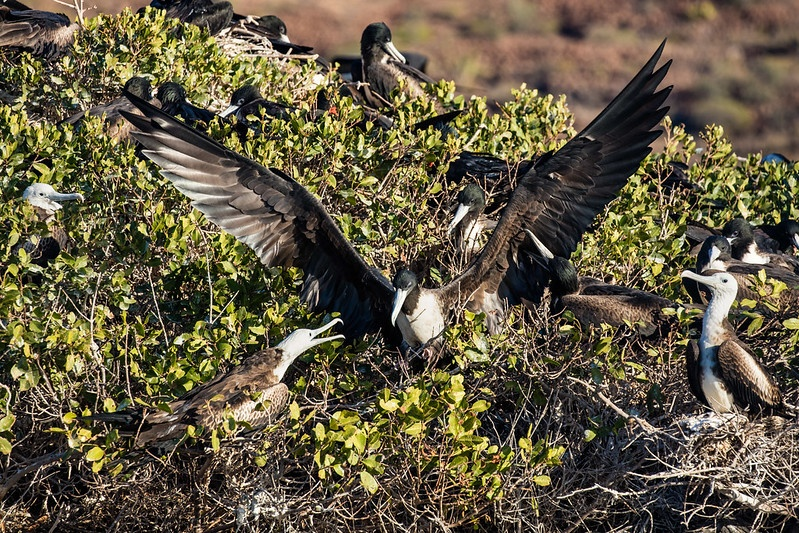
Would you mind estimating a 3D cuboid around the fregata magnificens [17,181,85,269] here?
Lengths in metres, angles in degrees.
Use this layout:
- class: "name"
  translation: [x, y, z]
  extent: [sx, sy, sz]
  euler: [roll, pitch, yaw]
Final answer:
- class: "fregata magnificens"
  translation: [-2.631, -0.314, 9.422]
  extent: [0.402, 0.540, 0.686]
  euler: [16, 4, -17]

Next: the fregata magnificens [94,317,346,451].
- class: "fregata magnificens"
  translation: [-1.169, 0.806, 8.332]
  extent: [1.885, 0.833, 0.486]
  euler: [-5, 29, -26]

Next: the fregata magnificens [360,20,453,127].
- class: "fregata magnificens"
  translation: [0.063, -1.922, 12.778]
  extent: [1.164, 1.000, 0.388]
  euler: [-2, 17, -27]

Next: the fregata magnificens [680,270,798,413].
- class: "fregata magnificens"
  translation: [2.233, 0.522, 8.469]
  extent: [0.822, 0.975, 0.327]
  euler: [19, 4, 27]
